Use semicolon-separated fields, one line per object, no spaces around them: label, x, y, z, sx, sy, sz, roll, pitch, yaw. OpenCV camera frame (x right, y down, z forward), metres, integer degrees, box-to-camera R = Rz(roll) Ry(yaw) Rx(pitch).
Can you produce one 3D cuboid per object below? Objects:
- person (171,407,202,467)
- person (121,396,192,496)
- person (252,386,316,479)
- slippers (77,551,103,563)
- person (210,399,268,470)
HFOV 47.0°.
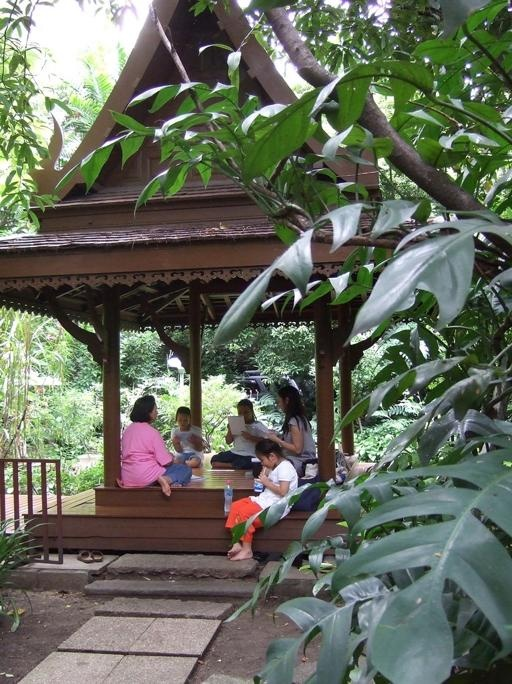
person;-0.922;1.203;7.524;0.519;0.711;0.597;-3;1;-11
person;-1.068;1.027;6.186;1.031;0.865;0.606;0;-1;41
person;0.346;1.088;6.210;0.704;1.158;0.537;-1;-2;16
slippers;-1.599;2.067;5.669;0.161;0.056;0.213;4;-4;-17
person;-0.201;1.204;7.629;0.644;0.825;0.697;3;5;28
